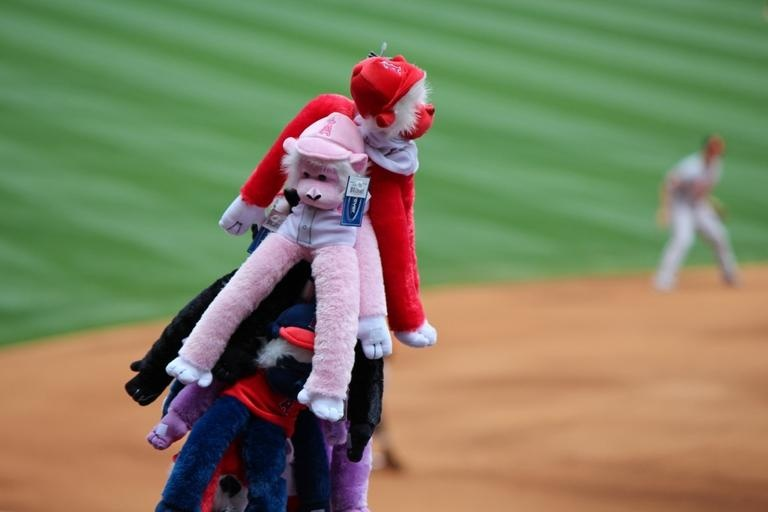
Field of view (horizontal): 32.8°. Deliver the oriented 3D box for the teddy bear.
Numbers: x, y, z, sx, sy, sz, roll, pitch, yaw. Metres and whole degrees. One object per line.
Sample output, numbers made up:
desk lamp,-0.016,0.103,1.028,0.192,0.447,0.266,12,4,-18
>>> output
teddy bear,-0.284,0.094,4.495,0.945,1.565,0.541,5,19,1
